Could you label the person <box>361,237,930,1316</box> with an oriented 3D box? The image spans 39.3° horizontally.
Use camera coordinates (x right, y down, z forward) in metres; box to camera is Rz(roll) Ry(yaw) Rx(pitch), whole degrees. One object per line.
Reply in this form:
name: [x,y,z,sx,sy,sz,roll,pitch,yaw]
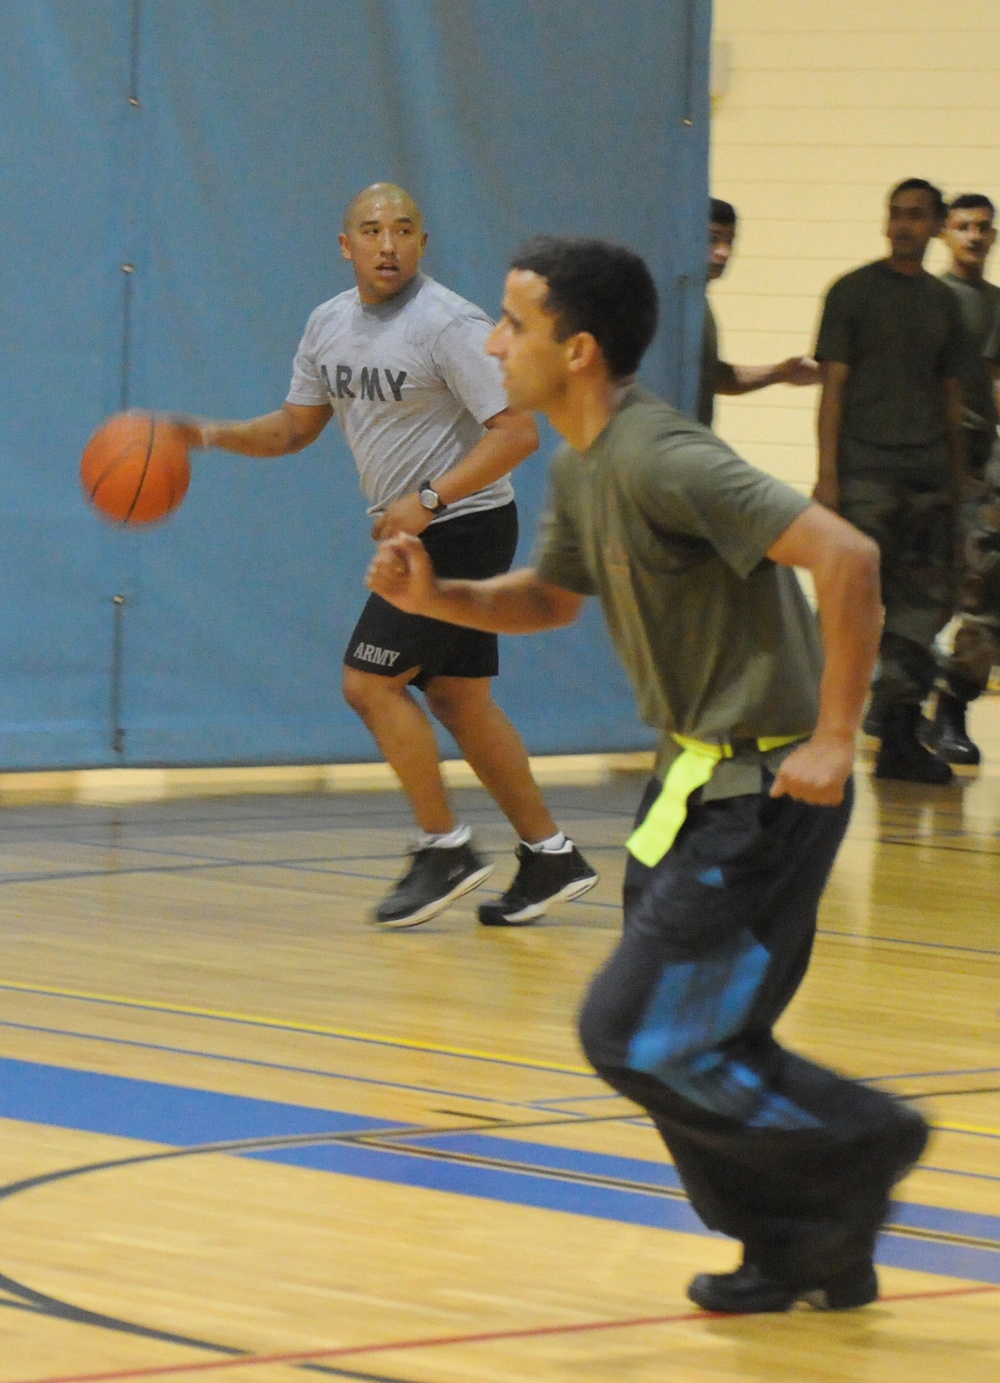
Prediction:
person: [0.155,0.060,1.387,0.306,1.017,0.558,2,-2,-31]
